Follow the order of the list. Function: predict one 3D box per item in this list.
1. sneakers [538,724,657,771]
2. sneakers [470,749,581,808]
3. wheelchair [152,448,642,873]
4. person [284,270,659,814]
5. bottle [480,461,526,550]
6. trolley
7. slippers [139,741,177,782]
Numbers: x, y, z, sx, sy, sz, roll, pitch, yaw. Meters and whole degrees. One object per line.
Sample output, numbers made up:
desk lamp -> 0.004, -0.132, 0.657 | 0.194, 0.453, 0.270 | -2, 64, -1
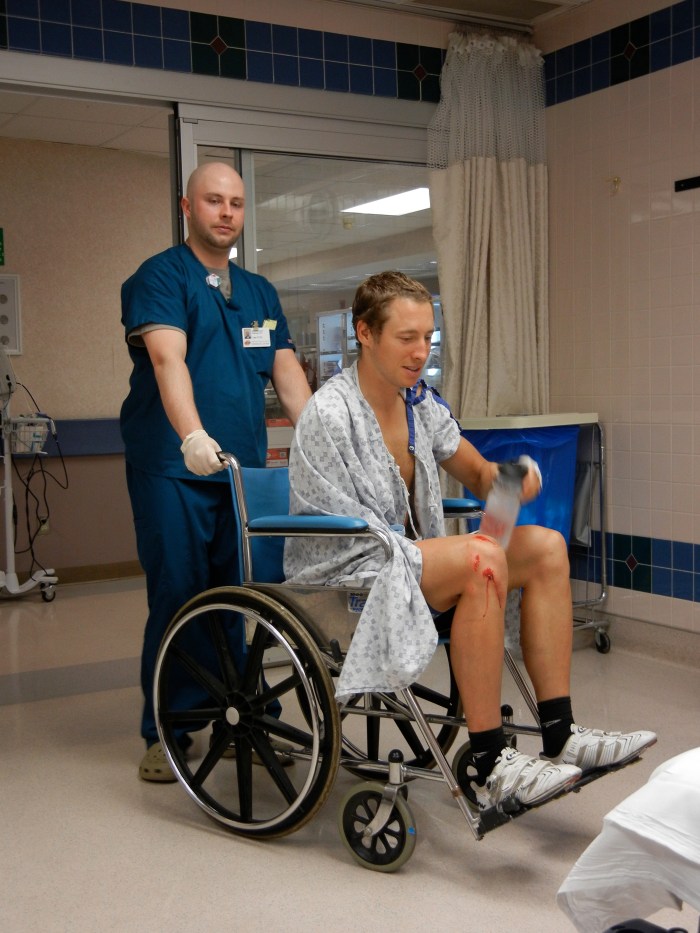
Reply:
sneakers -> 0.478, 0.542, 1.547 | 0.212, 0.088, 0.077 | -9, 19, 22
sneakers -> 0.307, 0.549, 1.433 | 0.170, 0.086, 0.089 | -12, 18, 44
wheelchair -> 0.029, 0.405, 1.821 | 0.732, 0.804, 0.941 | 3, -5, -42
person -> 0.183, 0.171, 1.651 | 0.556, 1.199, 0.645 | -2, 1, -29
bottle -> 0.307, 0.069, 1.603 | 0.090, 0.171, 0.121 | -1, 1, -2
trolley -> 0.795, 0.312, 3.598 | 0.744, 1.103, 0.642 | -4, -4, 20
slippers -> -0.510, 0.789, 2.163 | 0.099, 0.123, 0.134 | 1, -11, -7
